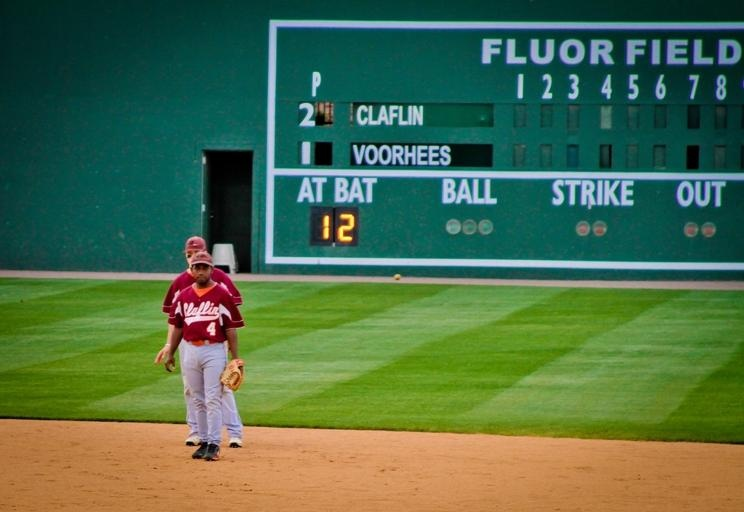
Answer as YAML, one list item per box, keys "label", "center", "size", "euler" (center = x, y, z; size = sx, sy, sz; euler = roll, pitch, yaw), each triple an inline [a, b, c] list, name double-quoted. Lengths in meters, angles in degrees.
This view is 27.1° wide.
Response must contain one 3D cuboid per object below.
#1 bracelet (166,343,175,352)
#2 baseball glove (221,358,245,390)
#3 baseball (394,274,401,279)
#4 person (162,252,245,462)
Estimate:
- label: "bracelet"
  center: [-4.294, 1.857, 31.628]
  size: [0.136, 0.172, 0.177]
  euler: [-2, -19, -15]
- label: "baseball glove"
  center: [-2.976, 2.400, 31.518]
  size: [0.455, 0.609, 0.225]
  euler: [28, -4, -6]
- label: "baseball"
  center: [0.625, 0.594, 45.209]
  size: [0.143, 0.112, 0.143]
  euler: [-7, -5, 31]
- label: "person"
  center: [-3.541, 2.017, 31.506]
  size: [1.532, 4.228, 0.588]
  euler: [0, 2, 0]
